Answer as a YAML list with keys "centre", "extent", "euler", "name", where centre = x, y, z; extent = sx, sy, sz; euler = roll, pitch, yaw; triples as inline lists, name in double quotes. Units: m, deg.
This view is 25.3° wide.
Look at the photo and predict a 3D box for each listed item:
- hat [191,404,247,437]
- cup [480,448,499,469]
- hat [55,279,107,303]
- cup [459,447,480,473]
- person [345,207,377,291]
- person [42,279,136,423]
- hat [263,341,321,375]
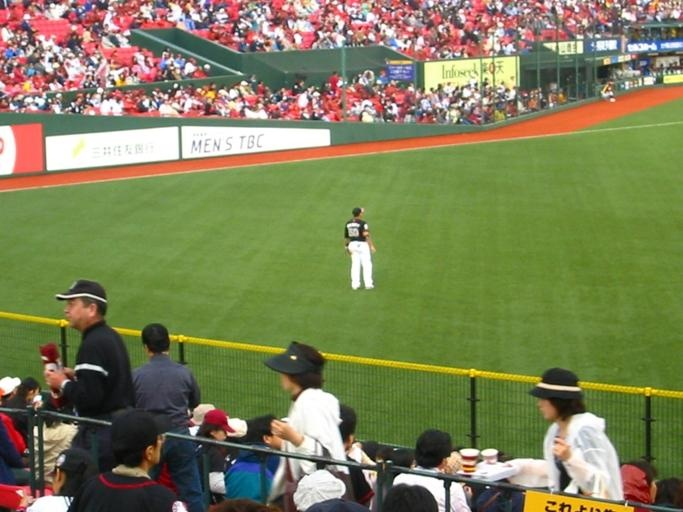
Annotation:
- centre: [-2.484, 3.277, 30.636]
  extent: [1.023, 0.344, 0.612]
  euler: [13, 8, -5]
  name: "hat"
- centre: [2.805, 3.759, 28.686]
  extent: [0.320, 0.235, 0.336]
  euler: [-1, 8, 0]
  name: "cup"
- centre: [-4.997, 0.685, 29.345]
  extent: [0.769, 0.333, 0.503]
  euler: [6, -7, -12]
  name: "hat"
- centre: [2.395, 3.795, 28.639]
  extent: [0.329, 0.413, 0.538]
  euler: [-1, 3, 4]
  name: "cup"
- centre: [0.435, -0.202, 38.455]
  extent: [0.702, 2.031, 1.264]
  euler: [-1, 3, 0]
  name: "person"
- centre: [-4.785, 1.769, 29.150]
  extent: [1.477, 2.572, 0.427]
  euler: [-1, 3, -9]
  name: "person"
- centre: [-0.891, 1.924, 28.571]
  extent: [0.879, 0.384, 0.614]
  euler: [10, -2, 4]
  name: "hat"
